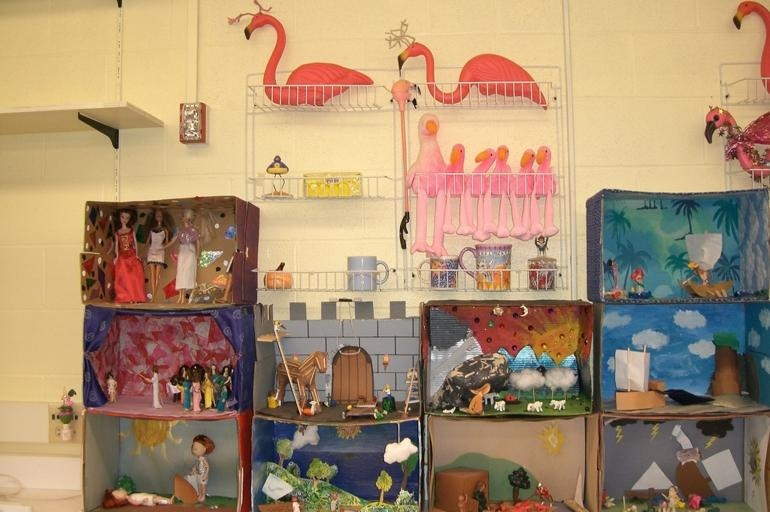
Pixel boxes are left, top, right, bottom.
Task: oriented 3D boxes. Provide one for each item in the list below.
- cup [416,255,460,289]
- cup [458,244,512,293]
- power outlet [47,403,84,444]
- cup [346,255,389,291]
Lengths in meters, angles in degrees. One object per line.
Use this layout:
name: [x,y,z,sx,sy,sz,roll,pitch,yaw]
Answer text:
cup: [0.357,0.103,11.116,0.310,0.226,0.202,-3,-6,15]
cup: [0.675,0.064,11.175,0.337,0.346,0.244,0,-2,6]
power outlet: [-2.174,1.150,11.344,0.235,0.264,0.093,3,8,8]
cup: [-0.117,0.115,11.150,0.171,0.232,0.281,-2,-2,34]
